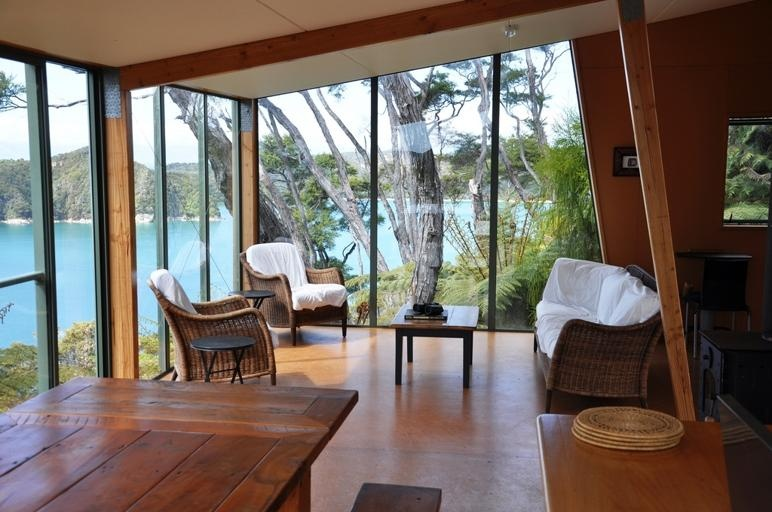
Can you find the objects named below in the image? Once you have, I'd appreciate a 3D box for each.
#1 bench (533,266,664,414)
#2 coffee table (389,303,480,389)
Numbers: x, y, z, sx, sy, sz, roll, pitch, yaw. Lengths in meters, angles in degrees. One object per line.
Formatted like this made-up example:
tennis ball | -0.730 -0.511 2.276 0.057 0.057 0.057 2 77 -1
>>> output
bench | 1.887 0.503 4.732 0.756 0.668 1.558 1 3 16
coffee table | 0.538 0.909 5.671 0.815 0.711 0.840 2 8 13
